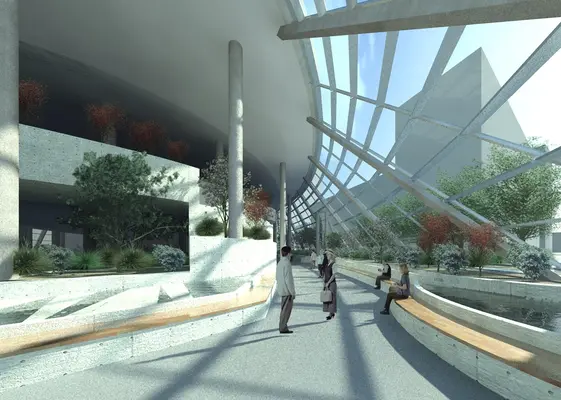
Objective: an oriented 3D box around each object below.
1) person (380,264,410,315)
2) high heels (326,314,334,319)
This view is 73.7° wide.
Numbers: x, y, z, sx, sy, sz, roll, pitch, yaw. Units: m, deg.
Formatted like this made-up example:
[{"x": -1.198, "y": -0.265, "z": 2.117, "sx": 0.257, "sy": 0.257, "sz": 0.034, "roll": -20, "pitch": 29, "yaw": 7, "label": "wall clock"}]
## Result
[{"x": 3.706, "y": 2.721, "z": 11.968, "sx": 0.789, "sy": 1.708, "sz": 1.854, "roll": 3, "pitch": 13, "yaw": 17, "label": "person"}, {"x": 1.471, "y": 3.452, "z": 11.045, "sx": 0.211, "sy": 0.097, "sz": 0.117, "roll": -1, "pitch": -12, "yaw": -40, "label": "high heels"}]
